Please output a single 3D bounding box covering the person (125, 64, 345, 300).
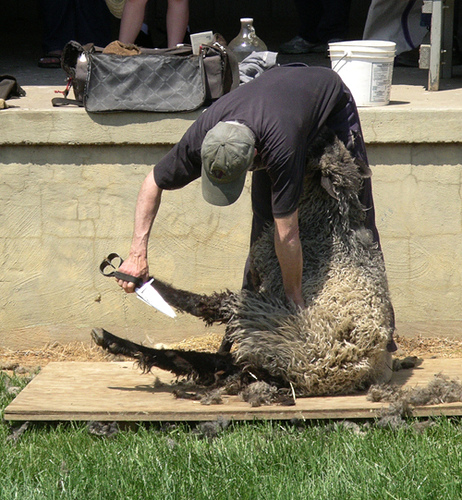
[{"bbox_3d":[0.076,-0.324,4.178,1.022,1.129,0.512,1,13,-7],"label":"person"}]

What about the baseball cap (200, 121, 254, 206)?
[{"bbox_3d":[-0.034,-0.398,3.985,0.274,0.384,0.181,7,14,21],"label":"baseball cap"}]
